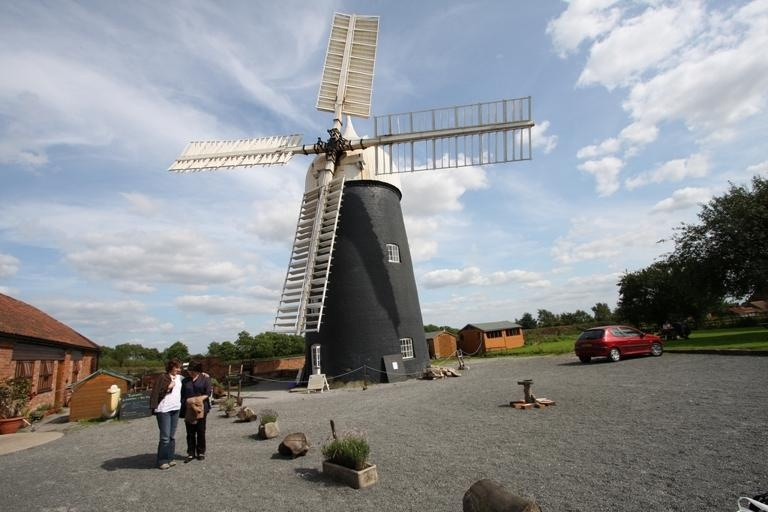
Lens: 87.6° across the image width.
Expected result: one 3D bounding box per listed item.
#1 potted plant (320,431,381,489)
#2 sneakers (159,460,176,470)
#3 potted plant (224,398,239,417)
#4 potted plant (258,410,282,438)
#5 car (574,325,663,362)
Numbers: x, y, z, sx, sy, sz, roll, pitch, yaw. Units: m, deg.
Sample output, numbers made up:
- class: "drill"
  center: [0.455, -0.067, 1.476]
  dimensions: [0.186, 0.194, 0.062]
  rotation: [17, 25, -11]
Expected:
- class: "potted plant"
  center: [-0.876, 4.961, 9.782]
  dimensions: [1.329, 0.912, 0.940]
  rotation: [-9, -15, 37]
- class: "sneakers"
  center: [-5.835, 5.618, 10.731]
  dimensions: [0.402, 0.154, 0.133]
  rotation: [-20, -22, 29]
- class: "potted plant"
  center: [-6.450, 6.353, 16.742]
  dimensions: [0.552, 0.505, 1.257]
  rotation: [4, -25, -18]
- class: "potted plant"
  center: [-3.847, 5.587, 13.264]
  dimensions: [0.802, 0.881, 0.756]
  rotation: [-25, -29, 32]
- class: "car"
  center: [13.234, 4.793, 22.431]
  dimensions: [4.852, 1.714, 1.644]
  rotation: [-3, -6, -18]
